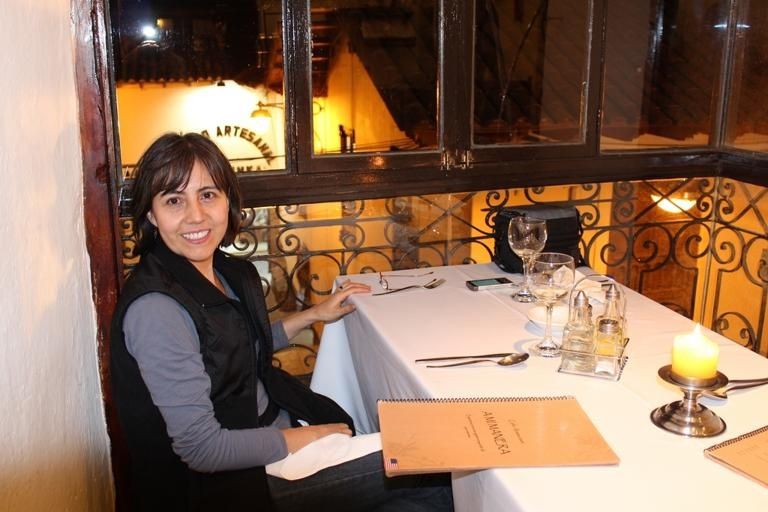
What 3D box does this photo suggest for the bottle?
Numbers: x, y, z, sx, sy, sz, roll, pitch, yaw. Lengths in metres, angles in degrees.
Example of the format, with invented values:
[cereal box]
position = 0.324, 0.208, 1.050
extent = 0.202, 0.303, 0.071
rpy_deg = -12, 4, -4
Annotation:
[bottle]
position = 0.546, 0.195, 1.517
extent = 0.182, 0.251, 0.176
rpy_deg = -1, 16, 0

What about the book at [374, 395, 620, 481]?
[book]
position = 0.239, 0.381, 1.223
extent = 0.348, 0.034, 0.218
rpy_deg = 1, 16, -3

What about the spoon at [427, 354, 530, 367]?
[spoon]
position = 0.245, 0.279, 1.560
extent = 0.308, 0.029, 0.087
rpy_deg = -2, 1, -4

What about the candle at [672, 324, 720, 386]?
[candle]
position = 0.637, 0.204, 1.249
extent = 0.109, 0.114, 0.105
rpy_deg = 1, 11, 16

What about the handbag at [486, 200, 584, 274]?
[handbag]
position = 0.626, -0.067, 2.378
extent = 0.356, 0.239, 0.240
rpy_deg = -3, 6, -10
